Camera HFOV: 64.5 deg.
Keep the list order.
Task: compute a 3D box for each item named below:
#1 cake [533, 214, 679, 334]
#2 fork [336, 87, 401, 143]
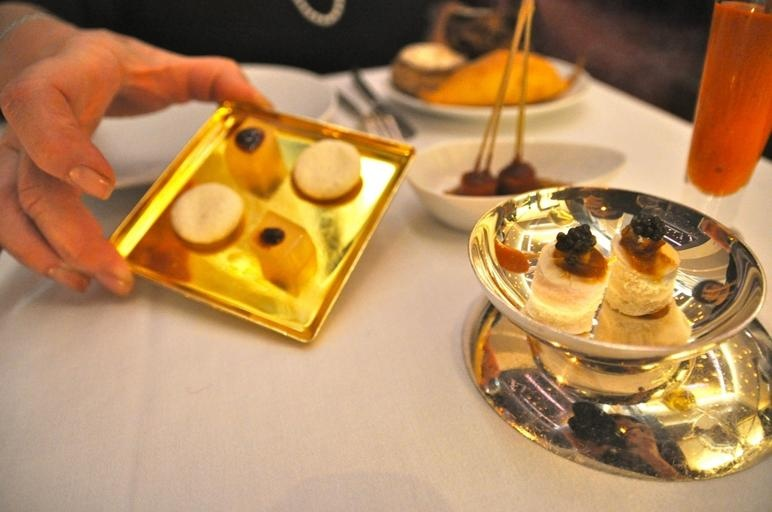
[{"bbox_3d":[0.221,0.014,0.732,0.187,0.123,0.101,-13,44,1],"label":"cake"},{"bbox_3d":[-0.026,-0.225,1.024,0.062,0.021,0.186,-25,41,-22],"label":"fork"}]
